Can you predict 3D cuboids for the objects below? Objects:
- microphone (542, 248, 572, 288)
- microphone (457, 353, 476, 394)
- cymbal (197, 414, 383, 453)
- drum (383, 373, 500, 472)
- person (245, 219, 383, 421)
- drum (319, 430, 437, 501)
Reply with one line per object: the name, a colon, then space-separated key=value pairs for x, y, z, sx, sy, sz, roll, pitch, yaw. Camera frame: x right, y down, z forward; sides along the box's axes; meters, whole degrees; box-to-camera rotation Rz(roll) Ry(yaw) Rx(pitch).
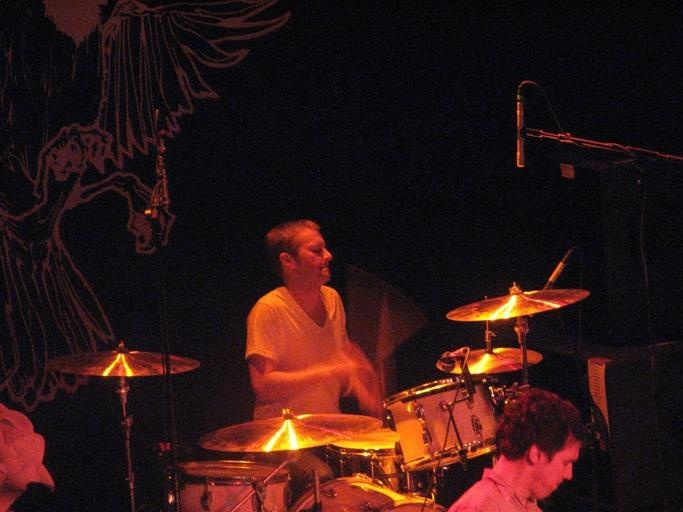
microphone: x=1.443 y=0.077 z=6.135 sx=0.047 sy=0.354 sz=0.061 roll=31 pitch=-42 yaw=10
microphone: x=0.726 y=0.662 z=5.251 sx=0.072 sy=0.267 sz=0.067 roll=-15 pitch=10 yaw=-27
cymbal: x=-0.245 y=0.971 z=5.109 sx=0.478 sy=0.104 sz=0.465 roll=-4 pitch=-6 yaw=-35
drum: x=0.715 y=1.015 z=5.582 sx=0.767 sy=0.505 sz=0.759 roll=-13 pitch=-4 yaw=-1
person: x=-0.176 y=0.424 z=6.000 sx=0.894 sy=1.223 sz=0.479 roll=3 pitch=-24 yaw=-18
drum: x=0.202 y=1.212 z=5.384 sx=0.471 sy=0.414 sz=0.473 roll=-1 pitch=3 yaw=19
